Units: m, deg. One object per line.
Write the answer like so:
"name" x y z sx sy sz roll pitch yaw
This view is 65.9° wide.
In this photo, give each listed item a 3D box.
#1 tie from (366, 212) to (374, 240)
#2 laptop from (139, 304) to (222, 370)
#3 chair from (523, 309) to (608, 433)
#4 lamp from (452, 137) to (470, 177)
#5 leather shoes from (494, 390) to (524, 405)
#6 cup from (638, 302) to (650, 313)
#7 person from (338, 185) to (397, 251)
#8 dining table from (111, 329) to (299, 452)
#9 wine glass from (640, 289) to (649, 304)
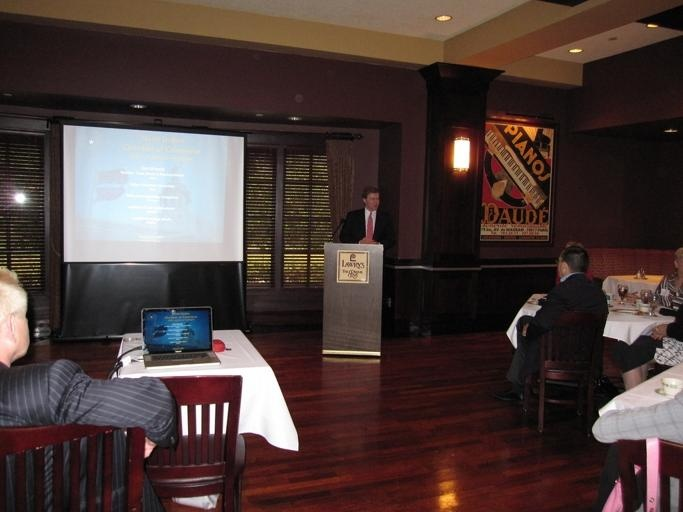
"tie" 0.372 -0.393 6.723 0.082 0.338 0.063 0 6 -9
"laptop" -1.081 0.451 3.507 0.457 0.338 0.362 -1 3 -18
"chair" 1.953 0.940 4.650 0.611 1.053 0.849 5 7 27
"lamp" 1.707 -1.414 7.403 0.285 0.495 0.209 1 6 -1
"leather shoes" 1.589 1.327 5.058 0.287 0.142 0.104 6 4 32
"cup" 2.950 0.504 5.139 0.121 0.092 0.127 0 -1 0
"person" 0.413 -0.481 6.616 0.703 0.759 0.901 -1 7 -18
"dining table" -0.800 0.881 3.464 0.895 0.363 0.934 2 1 -21
"wine glass" 3.145 0.422 5.470 0.094 0.114 0.097 0 -3 29
